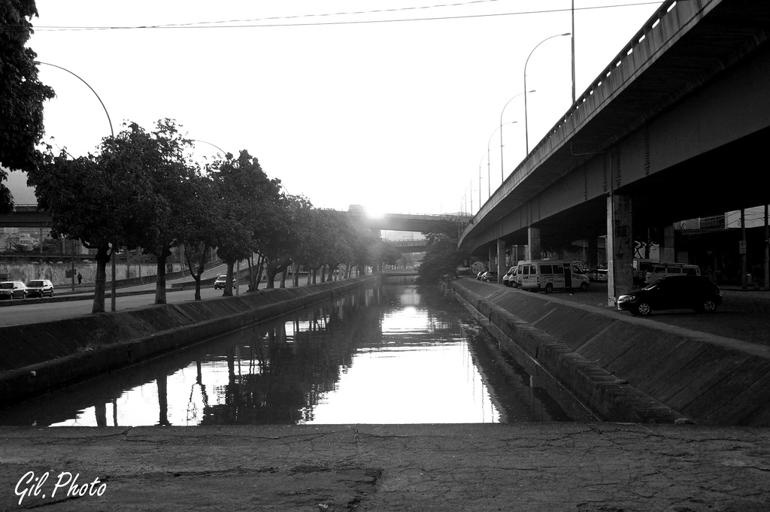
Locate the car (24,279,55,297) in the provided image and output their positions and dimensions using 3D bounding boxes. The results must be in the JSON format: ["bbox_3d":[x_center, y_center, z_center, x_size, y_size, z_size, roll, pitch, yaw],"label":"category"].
[{"bbox_3d":[-32.091,3.053,64.769,2.162,1.663,3.296,1,-7,-17],"label":"car"}]

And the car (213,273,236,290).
[{"bbox_3d":[-17.016,2.680,73.117,1.763,1.718,3.200,-1,-9,-4],"label":"car"}]

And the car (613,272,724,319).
[{"bbox_3d":[12.983,1.728,31.483,4.625,1.730,1.054,0,1,-16],"label":"car"}]
